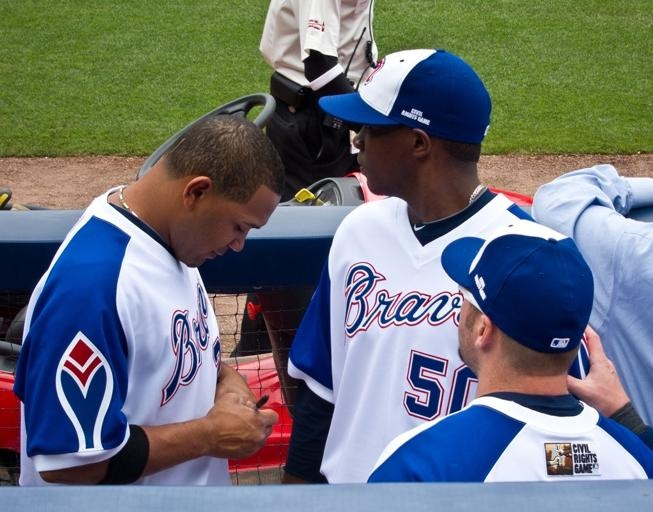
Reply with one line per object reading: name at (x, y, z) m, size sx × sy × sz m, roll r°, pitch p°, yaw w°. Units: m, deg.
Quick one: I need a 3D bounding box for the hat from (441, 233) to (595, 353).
hat at (0.608, 0.043, 2.870) m, size 0.504 × 0.276 × 0.338 m, roll 20°, pitch 31°, yaw 21°

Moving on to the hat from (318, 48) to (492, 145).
hat at (0.295, -0.589, 3.319) m, size 0.643 × 0.338 × 0.468 m, roll 3°, pitch 12°, yaw 8°
